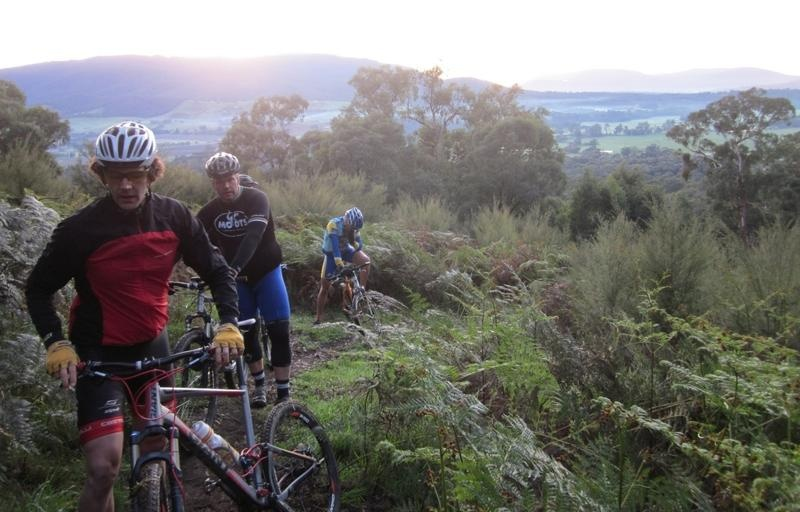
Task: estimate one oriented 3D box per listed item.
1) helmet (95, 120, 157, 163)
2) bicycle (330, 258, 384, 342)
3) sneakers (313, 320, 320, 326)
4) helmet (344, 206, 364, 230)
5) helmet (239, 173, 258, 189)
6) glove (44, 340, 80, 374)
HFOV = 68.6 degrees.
[{"bbox_3d":[-2.864,-1.188,6.092,0.591,0.425,0.334,-5,12,-24],"label":"helmet"},{"bbox_3d":[-0.856,0.777,11.213,0.700,1.115,1.730,-4,12,-22],"label":"bicycle"},{"bbox_3d":[-1.605,1.292,11.332,0.066,0.094,0.132,-5,-16,27],"label":"sneakers"},{"bbox_3d":[-0.888,-0.751,11.586,0.343,0.434,0.457,5,28,-23],"label":"helmet"},{"bbox_3d":[-2.213,-1.043,8.542,0.244,0.223,0.281,11,20,-18],"label":"helmet"},{"bbox_3d":[-3.369,1.007,5.831,0.286,0.301,0.247,-7,13,-31],"label":"glove"}]
